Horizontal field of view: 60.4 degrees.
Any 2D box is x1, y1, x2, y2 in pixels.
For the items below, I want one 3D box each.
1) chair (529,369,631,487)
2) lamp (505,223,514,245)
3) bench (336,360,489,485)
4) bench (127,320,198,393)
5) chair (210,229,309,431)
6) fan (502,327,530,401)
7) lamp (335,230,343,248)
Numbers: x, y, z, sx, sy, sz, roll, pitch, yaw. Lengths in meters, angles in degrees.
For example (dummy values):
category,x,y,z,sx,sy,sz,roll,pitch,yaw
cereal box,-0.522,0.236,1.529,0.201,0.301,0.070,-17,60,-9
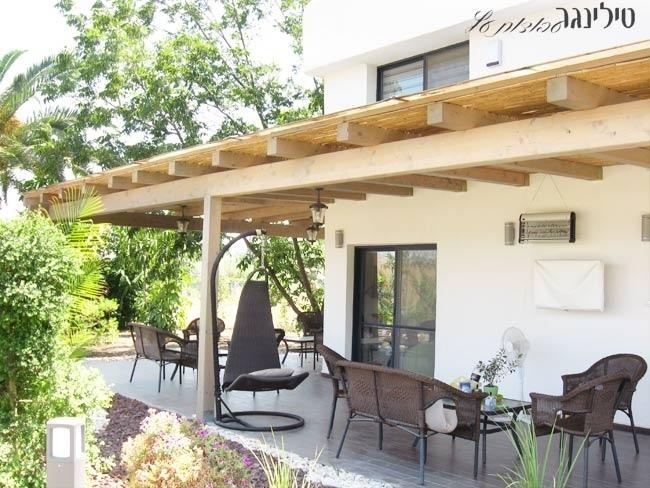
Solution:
category,x,y,z,sx,sy,sz,roll,pitch,yaw
chair,2.344,1.657,5.123,0.907,0.998,0.651,8,-8,-43
lamp,2.407,-0.136,7.261,0.123,0.281,0.060,1,-5,15
bench,0.787,1.642,5.257,1.346,0.970,0.510,-1,-6,31
bench,-2.494,1.594,8.834,0.975,1.271,1.306,0,0,-44
chair,-0.832,0.982,6.748,1.156,2.279,1.252,4,-5,-12
fan,2.194,1.411,6.453,0.294,0.895,1.738,1,-6,20
lamp,0.240,-0.078,9.172,0.158,0.293,0.053,0,-6,27
